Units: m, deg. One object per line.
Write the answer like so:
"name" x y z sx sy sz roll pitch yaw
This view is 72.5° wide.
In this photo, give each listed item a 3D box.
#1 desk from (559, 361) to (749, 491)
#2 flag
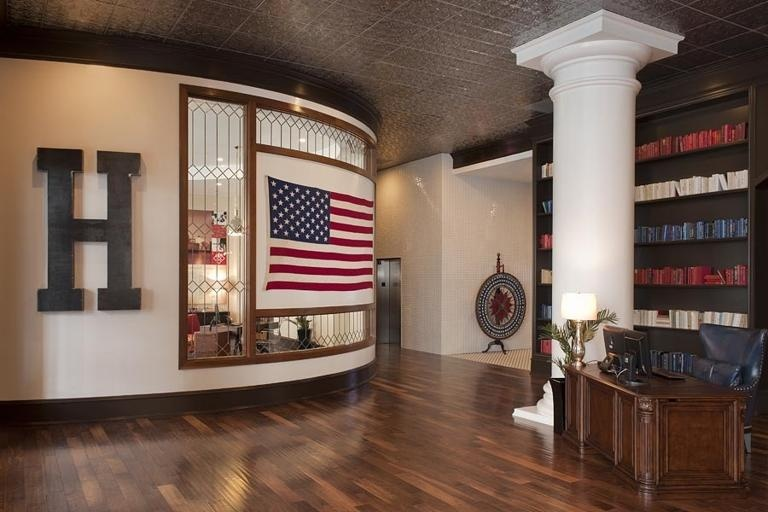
"desk" 2.827 1.733 5.332 0.941 0.785 1.719 0 -2 -12
"flag" -1.063 -0.358 7.942 0.093 1.319 1.915 -4 -6 43
